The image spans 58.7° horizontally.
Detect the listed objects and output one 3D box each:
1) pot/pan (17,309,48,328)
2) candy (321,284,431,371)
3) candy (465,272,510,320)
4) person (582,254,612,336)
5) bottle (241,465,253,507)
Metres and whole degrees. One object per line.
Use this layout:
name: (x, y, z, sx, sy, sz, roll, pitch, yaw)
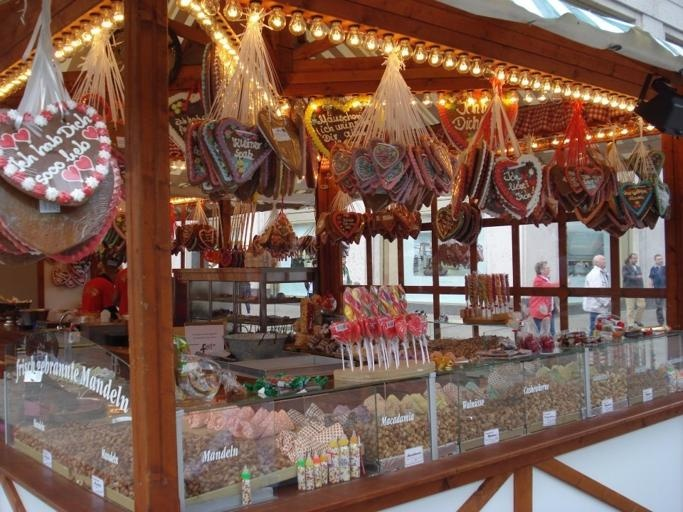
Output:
pot/pan: (-3.135, 0.626, 6.158, 0.294, 0.176, 0.316, 0, -1, -4)
candy: (0.184, 0.471, 3.939, 0.571, 0.572, 0.229, -1, -4, -29)
candy: (1.619, 0.462, 6.753, 0.478, 0.632, 0.481, 1, 5, 25)
person: (2.748, 0.384, 6.532, 0.266, 0.796, 0.491, 4, 5, 18)
bottle: (-0.408, 0.985, 2.617, 0.046, 0.154, 0.047, 2, 5, 0)
